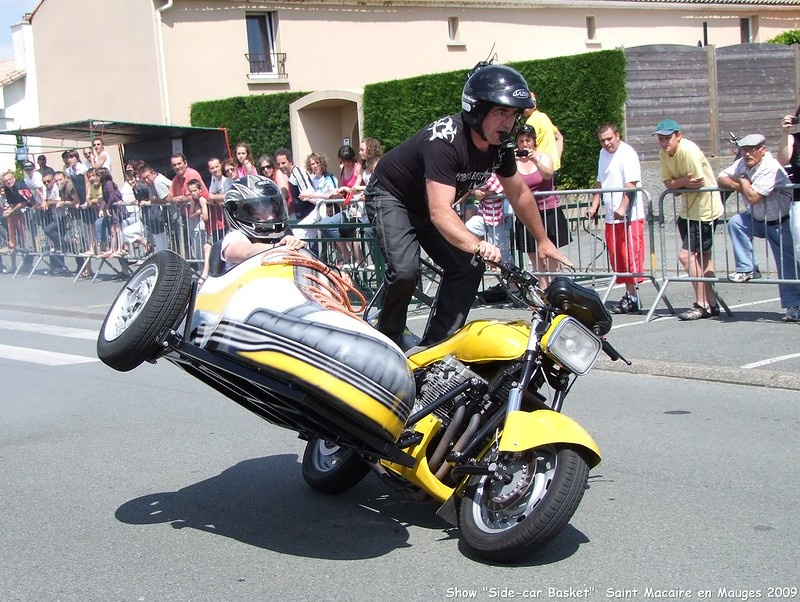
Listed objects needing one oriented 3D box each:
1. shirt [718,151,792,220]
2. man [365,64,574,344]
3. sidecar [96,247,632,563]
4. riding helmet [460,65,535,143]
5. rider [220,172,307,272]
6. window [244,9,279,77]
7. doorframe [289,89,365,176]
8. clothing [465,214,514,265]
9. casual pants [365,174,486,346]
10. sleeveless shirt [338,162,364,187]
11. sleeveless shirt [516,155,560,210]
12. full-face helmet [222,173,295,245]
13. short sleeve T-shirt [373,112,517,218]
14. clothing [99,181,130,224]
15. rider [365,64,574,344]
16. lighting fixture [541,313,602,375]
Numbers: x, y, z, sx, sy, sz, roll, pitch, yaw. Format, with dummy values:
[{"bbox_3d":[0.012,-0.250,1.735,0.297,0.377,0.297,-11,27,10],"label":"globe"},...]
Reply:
[{"bbox_3d":[4.182,-1.332,8.066,0.664,0.783,0.397,3,12,27],"label":"shirt"},{"bbox_3d":[0.361,-0.474,4.346,0.971,1.975,1.292,-15,27,-41],"label":"man"},{"bbox_3d":[-0.161,0.507,3.729,2.440,1.603,0.978,2,12,25],"label":"sidecar"},{"bbox_3d":[0.589,-1.125,3.938,0.314,0.386,0.389,0,14,-45],"label":"riding helmet"},{"bbox_3d":[-0.926,-0.528,4.251,0.424,0.469,0.339,-2,1,34],"label":"rider"},{"bbox_3d":[-5.267,-9.417,25.413,1.006,2.145,0.141,-3,27,4],"label":"window"},{"bbox_3d":[-1.980,-5.658,23.866,3.102,3.098,1.768,13,22,38],"label":"doorframe"},{"bbox_3d":[1.316,-0.846,9.928,0.557,0.382,0.972,2,52,-9],"label":"clothing"},{"bbox_3d":[0.142,-0.379,4.412,0.499,1.425,0.500,3,29,-3],"label":"casual pants"},{"bbox_3d":[-0.857,-2.099,11.608,0.365,0.390,0.646,-4,11,-6],"label":"sleeveless shirt"},{"bbox_3d":[1.988,-1.698,9.826,0.374,0.675,0.494,-33,22,-11],"label":"sleeveless shirt"},{"bbox_3d":[-0.910,-0.596,4.241,0.418,0.358,0.348,24,28,39],"label":"full-face helmet"},{"bbox_3d":[0.282,-0.827,4.275,0.902,0.614,0.575,-3,10,-1],"label":"short sleeve T-shirt"},{"bbox_3d":[-6.014,-2.017,14.435,0.404,0.341,0.908,16,12,-27],"label":"clothing"},{"bbox_3d":[0.363,-0.473,4.354,0.938,1.946,1.296,-16,28,-41],"label":"rider"},{"bbox_3d":[0.836,0.218,3.371,0.304,0.240,0.106,37,-18,-22],"label":"lighting fixture"}]
